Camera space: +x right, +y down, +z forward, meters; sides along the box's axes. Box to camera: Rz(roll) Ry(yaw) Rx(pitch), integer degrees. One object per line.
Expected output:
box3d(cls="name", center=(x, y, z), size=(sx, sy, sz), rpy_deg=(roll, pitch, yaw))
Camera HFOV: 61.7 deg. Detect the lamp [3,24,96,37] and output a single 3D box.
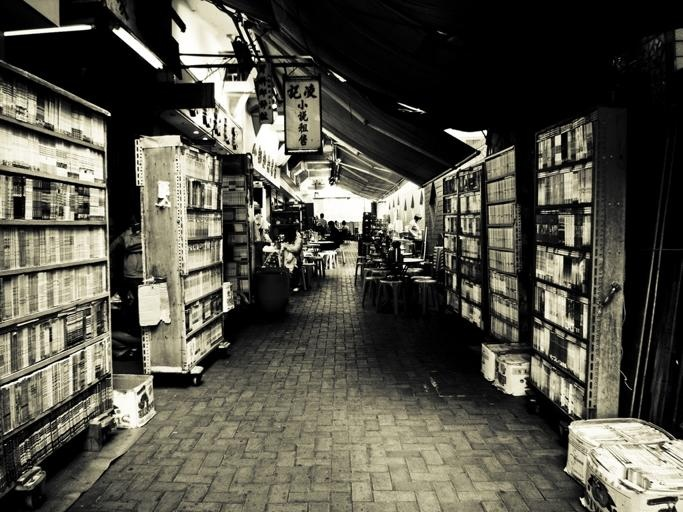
box3d(cls="lamp", center=(-3.460, -2.629, 6.626), size=(0.989, 0.138, 0.479), rpy_deg=(2, 12, 9))
